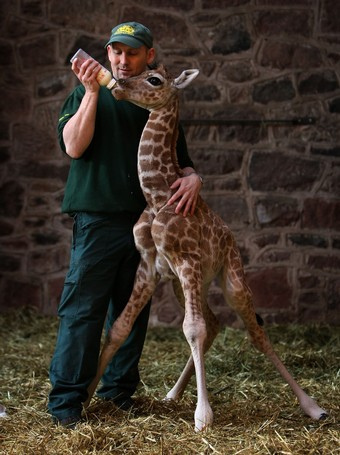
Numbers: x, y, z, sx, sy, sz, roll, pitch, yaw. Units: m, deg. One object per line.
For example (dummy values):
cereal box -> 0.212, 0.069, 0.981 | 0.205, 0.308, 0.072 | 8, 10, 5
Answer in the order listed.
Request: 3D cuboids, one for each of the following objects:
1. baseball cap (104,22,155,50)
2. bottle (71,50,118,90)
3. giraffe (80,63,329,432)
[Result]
baseball cap -> -0.185, -0.857, 2.240 | 0.185, 0.110, 0.237 | 12, 18, 15
bottle -> -0.332, -0.655, 2.123 | 0.100, 0.085, 0.294 | 22, -29, -24
giraffe -> 0.137, 0.060, 2.242 | 0.901, 1.524, 0.419 | 3, -4, -22
